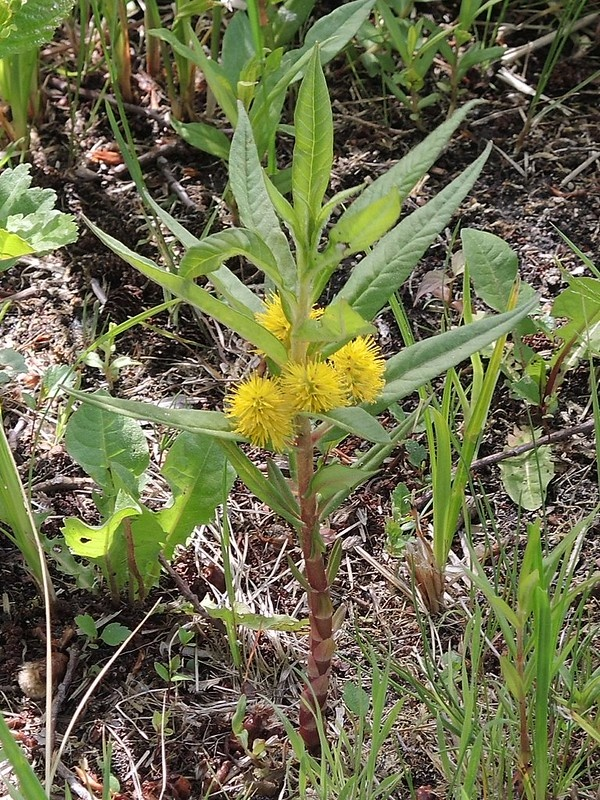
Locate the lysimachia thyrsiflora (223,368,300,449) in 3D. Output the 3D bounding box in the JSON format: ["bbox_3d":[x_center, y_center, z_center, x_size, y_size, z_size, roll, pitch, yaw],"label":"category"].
[{"bbox_3d":[-0.046,0.000,0.926,0.080,0.068,0.081,4,88,-19],"label":"lysimachia thyrsiflora"}]

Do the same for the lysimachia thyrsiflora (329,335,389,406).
[{"bbox_3d":[0.067,-0.036,0.964,0.067,0.059,0.068,9,89,12],"label":"lysimachia thyrsiflora"}]

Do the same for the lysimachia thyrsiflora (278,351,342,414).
[{"bbox_3d":[0.012,-0.028,0.922,0.070,0.069,0.034,-13,103,24],"label":"lysimachia thyrsiflora"}]
